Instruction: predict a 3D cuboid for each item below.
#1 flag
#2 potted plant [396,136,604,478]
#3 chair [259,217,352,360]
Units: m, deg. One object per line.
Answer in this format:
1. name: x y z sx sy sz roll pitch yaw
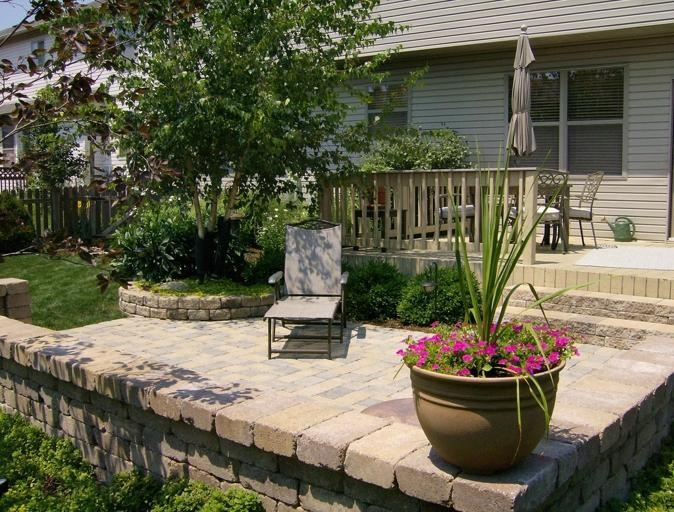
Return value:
1. flag: 2.867 -2.550 8.778 0.441 1.901 0.410 -5 13 -11
2. potted plant: 0.886 0.367 3.190 0.942 1.525 1.005 -9 8 -38
3. chair: -0.342 0.276 7.117 0.951 1.355 2.512 0 7 0
